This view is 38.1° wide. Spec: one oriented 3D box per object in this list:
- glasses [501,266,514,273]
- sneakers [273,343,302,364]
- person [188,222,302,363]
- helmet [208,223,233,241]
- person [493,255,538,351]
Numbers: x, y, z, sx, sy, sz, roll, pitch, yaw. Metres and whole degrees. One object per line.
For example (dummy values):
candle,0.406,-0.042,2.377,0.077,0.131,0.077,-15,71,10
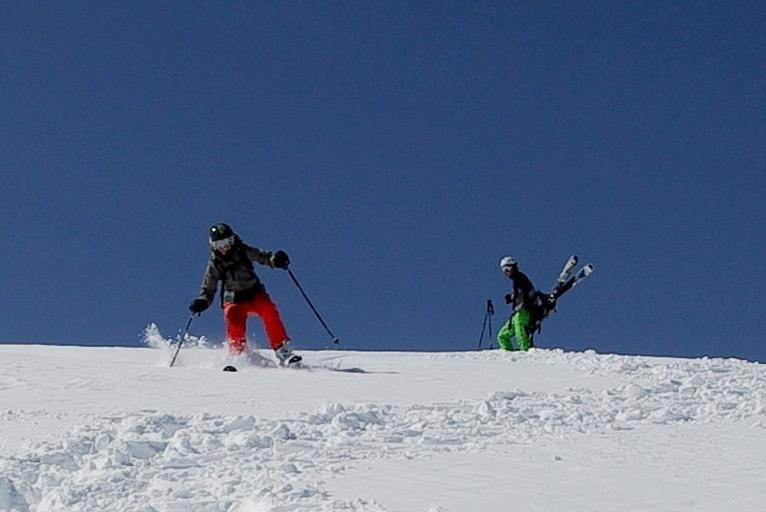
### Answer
glasses,1.800,0.192,15.993,0.143,0.115,0.142,-3,-8,11
sneakers,-1.147,1.211,13.497,0.221,0.300,0.290,-5,-8,-42
person,-1.753,0.429,13.613,1.274,1.719,0.786,0,10,-1
helmet,-1.969,-0.288,13.442,0.276,0.267,0.523,-1,10,-8
person,2.037,0.804,16.770,0.541,1.437,0.892,1,10,6
